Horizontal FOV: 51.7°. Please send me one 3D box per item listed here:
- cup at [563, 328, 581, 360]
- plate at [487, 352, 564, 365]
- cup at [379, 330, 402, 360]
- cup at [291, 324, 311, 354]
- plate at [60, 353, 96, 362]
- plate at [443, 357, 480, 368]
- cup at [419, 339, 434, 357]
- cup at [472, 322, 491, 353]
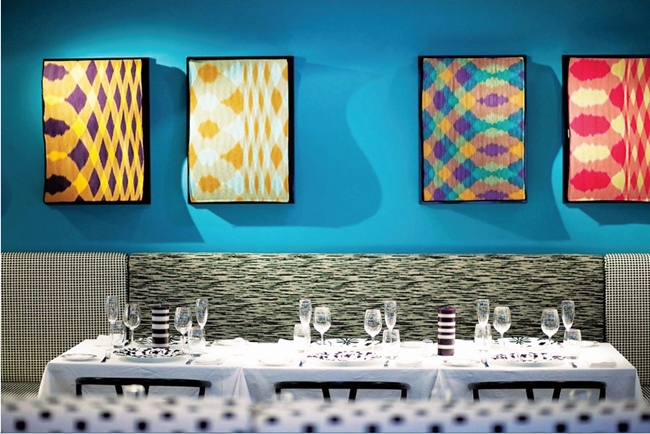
[{"bbox_3d":[1.564,0.800,4.269,0.101,0.170,0.189,0,-1,20],"label":"cup"},{"bbox_3d":[1.233,0.875,4.136,0.468,0.055,0.239,0,-1,13],"label":"plate"},{"bbox_3d":[0.400,0.785,4.178,0.103,0.179,0.156,0,-1,3],"label":"cup"},{"bbox_3d":[-0.159,0.776,4.346,0.094,0.186,0.210,0,-1,3],"label":"cup"},{"bbox_3d":[-1.577,0.885,4.265,0.229,0.030,0.153,0,-1,-10],"label":"plate"},{"bbox_3d":[0.828,0.884,4.086,0.228,0.030,0.198,0,-1,7],"label":"plate"},{"bbox_3d":[0.640,0.825,4.258,0.085,0.097,0.088,-1,-2,0],"label":"cup"},{"bbox_3d":[0.976,0.747,4.263,0.154,0.261,0.169,-2,0,0],"label":"cup"}]
